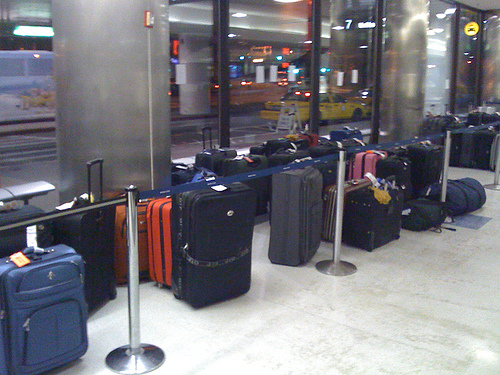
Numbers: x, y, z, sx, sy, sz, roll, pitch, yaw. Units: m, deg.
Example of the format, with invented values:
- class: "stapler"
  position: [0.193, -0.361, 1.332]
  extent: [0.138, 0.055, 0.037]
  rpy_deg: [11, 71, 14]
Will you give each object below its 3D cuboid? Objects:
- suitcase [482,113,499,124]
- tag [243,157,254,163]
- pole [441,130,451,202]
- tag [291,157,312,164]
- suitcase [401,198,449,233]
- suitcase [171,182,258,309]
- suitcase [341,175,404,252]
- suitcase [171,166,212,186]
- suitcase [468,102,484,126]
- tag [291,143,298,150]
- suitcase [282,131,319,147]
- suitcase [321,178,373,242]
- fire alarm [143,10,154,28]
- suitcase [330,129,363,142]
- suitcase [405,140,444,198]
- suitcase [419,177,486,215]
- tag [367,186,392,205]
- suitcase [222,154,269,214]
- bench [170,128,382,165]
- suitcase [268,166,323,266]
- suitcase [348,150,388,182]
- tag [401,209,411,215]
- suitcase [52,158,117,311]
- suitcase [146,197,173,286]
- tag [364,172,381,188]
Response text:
- class: "suitcase"
  position: [5.490, -1.570, 9.911]
  extent: [0.497, 0.221, 0.234]
  rpy_deg: [-6, 9, -20]
- class: "tag"
  position: [-0.017, -0.319, 5.055]
  extent: [0.124, 0.065, 0.068]
  rpy_deg: [-1, 13, 6]
- class: "pole"
  position: [2.509, -0.272, 5.554]
  extent: [0.063, 0.914, 0.306]
  rpy_deg: [3, 17, 24]
- class: "tag"
  position: [0.500, -0.267, 4.124]
  extent: [0.179, 0.038, 0.157]
  rpy_deg: [-7, 5, -15]
- class: "suitcase"
  position: [2.047, 0.300, 5.232]
  extent: [0.445, 0.305, 0.558]
  rpy_deg: [10, 12, 43]
- class: "suitcase"
  position: [-0.284, 0.448, 3.479]
  extent: [0.657, 0.933, 0.285]
  rpy_deg: [-13, 18, -33]
- class: "suitcase"
  position: [1.270, 0.287, 4.539]
  extent: [0.598, 0.788, 0.774]
  rpy_deg: [15, 21, 42]
- class: "suitcase"
  position: [-0.641, -0.136, 4.660]
  extent: [0.266, 0.092, 0.359]
  rpy_deg: [7, 11, 43]
- class: "suitcase"
  position: [5.460, -1.759, 10.469]
  extent: [0.329, 0.480, 1.558]
  rpy_deg: [4, 13, 27]
- class: "tag"
  position: [0.587, -0.530, 5.577]
  extent: [0.027, 0.091, 0.083]
  rpy_deg: [-24, 12, -36]
- class: "suitcase"
  position: [0.724, -0.730, 6.288]
  extent: [0.367, 0.260, 0.470]
  rpy_deg: [-10, 14, -39]
- class: "suitcase"
  position: [0.934, 0.224, 4.799]
  extent: [0.944, 0.582, 0.741]
  rpy_deg: [1, 1, 7]
- class: "fire alarm"
  position: [-0.922, -1.527, 3.952]
  extent: [0.111, 0.153, 0.065]
  rpy_deg: [-5, 15, -9]
- class: "suitcase"
  position: [1.516, -0.898, 6.824]
  extent: [0.380, 0.197, 0.248]
  rpy_deg: [-14, 30, -22]
- class: "suitcase"
  position: [2.479, -0.272, 6.135]
  extent: [0.572, 0.670, 0.457]
  rpy_deg: [-10, 20, -25]
- class: "suitcase"
  position: [2.893, 0.076, 5.869]
  extent: [0.988, 0.438, 0.768]
  rpy_deg: [-9, 16, -41]
- class: "tag"
  position: [1.340, 0.083, 4.487]
  extent: [0.149, 0.194, 0.093]
  rpy_deg: [-41, -16, -15]
- class: "suitcase"
  position: [0.026, -0.025, 5.243]
  extent: [0.538, 0.677, 0.625]
  rpy_deg: [13, 21, 33]
- class: "bench"
  position: [0.230, -0.556, 5.916]
  extent: [4.857, 0.580, 0.088]
  rpy_deg: [-7, 10, -39]
- class: "suitcase"
  position: [0.435, 0.267, 4.213]
  extent: [0.431, 0.902, 0.444]
  rpy_deg: [3, 16, 21]
- class: "suitcase"
  position: [1.792, -0.229, 5.547]
  extent: [0.431, 0.490, 0.350]
  rpy_deg: [-9, 20, 14]
- class: "tag"
  position: [2.088, 0.314, 5.739]
  extent: [0.114, 0.037, 0.124]
  rpy_deg: [17, 8, 30]
- class: "suitcase"
  position: [-1.169, 0.336, 3.346]
  extent: [0.552, 1.140, 0.514]
  rpy_deg: [2, 18, -18]
- class: "suitcase"
  position: [-0.745, 0.437, 3.581]
  extent: [0.250, 0.698, 0.281]
  rpy_deg: [-8, 22, -32]
- class: "tag"
  position: [1.292, -0.090, 4.601]
  extent: [0.139, 0.140, 0.067]
  rpy_deg: [1, -5, -33]
